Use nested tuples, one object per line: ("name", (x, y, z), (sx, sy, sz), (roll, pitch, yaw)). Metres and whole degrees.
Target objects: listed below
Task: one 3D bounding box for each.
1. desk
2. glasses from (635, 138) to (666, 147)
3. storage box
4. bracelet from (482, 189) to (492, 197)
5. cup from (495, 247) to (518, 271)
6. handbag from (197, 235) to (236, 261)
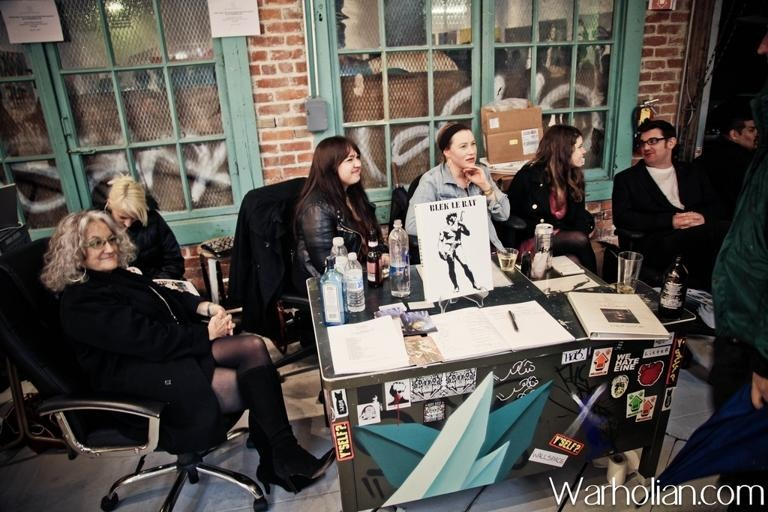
("desk", (0.523, 0.591, 2.745), (2.040, 1.011, 1.093), (-5, 41, -5))
("glasses", (2.062, -0.879, 3.890), (0.173, 0.079, 0.073), (14, 29, 36))
("storage box", (1.063, -1.108, 4.366), (0.539, 0.511, 0.525), (16, 29, 34))
("bracelet", (0.736, -0.446, 3.564), (0.068, 0.059, 0.116), (1, 23, 11))
("cup", (0.727, 0.017, 2.993), (0.131, 0.102, 0.119), (-2, 20, -3))
("handbag", (-1.289, -0.061, 3.900), (0.270, 0.077, 0.263), (4, 24, 8))
